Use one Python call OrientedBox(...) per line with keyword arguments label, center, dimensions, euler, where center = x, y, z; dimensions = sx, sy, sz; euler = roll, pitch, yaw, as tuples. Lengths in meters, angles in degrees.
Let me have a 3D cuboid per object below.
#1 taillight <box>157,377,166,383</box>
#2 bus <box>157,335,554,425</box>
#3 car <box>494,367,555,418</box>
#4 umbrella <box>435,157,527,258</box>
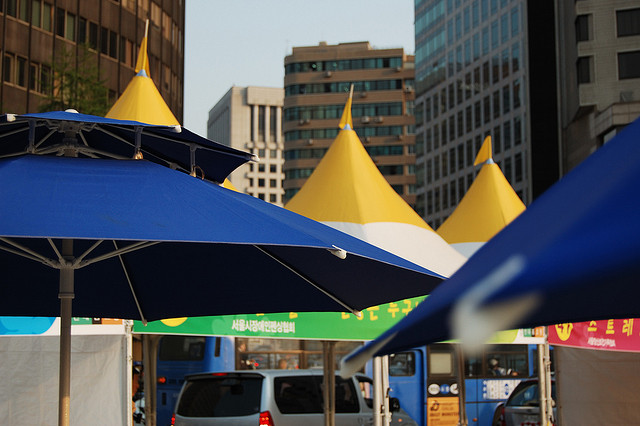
OrientedBox(label="taillight", center=(-6.407, 6.664, 60.851), dimensions=(0.203, 0.225, 0.053), euler=(0, -1, 7))
OrientedBox(label="bus", center=(1.426, 6.280, 56.274), dimensions=(13.498, 4.114, 4.330), euler=(-1, 1, -11))
OrientedBox(label="car", center=(7.986, 6.865, 58.465), dimensions=(2.423, 2.615, 7.523), euler=(0, -13, 6))
OrientedBox(label="umbrella", center=(6.397, -0.669, 57.235), dimensions=(4.036, 4.351, 3.985), euler=(2, -15, 0))
